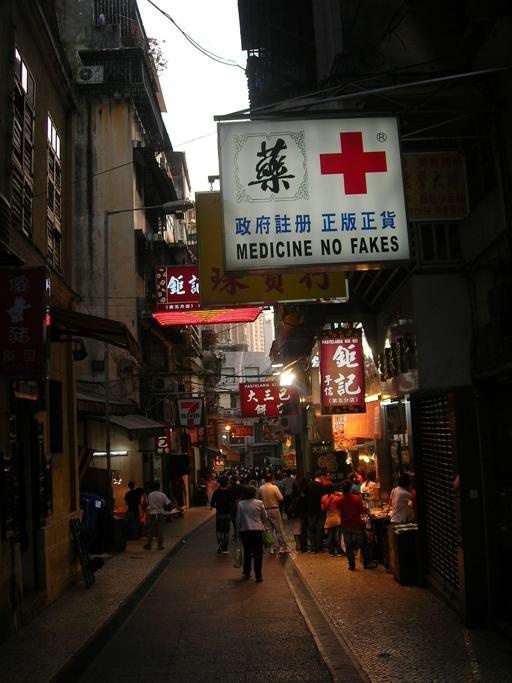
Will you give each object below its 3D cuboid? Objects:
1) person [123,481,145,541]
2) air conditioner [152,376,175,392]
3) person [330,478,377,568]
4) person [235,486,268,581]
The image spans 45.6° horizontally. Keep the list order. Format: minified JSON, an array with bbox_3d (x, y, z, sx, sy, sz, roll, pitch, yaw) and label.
[{"bbox_3d":[-3.804,5.289,19.022,0.521,1.731,1.557,1,-13,-11],"label":"person"},{"bbox_3d":[-4.196,1.946,27.998,1.090,0.639,0.798,-1,2,0],"label":"air conditioner"},{"bbox_3d":[1.880,3.516,11.711,0.608,1.605,1.212,-3,-12,8],"label":"person"},{"bbox_3d":[-0.104,3.569,11.393,0.542,1.620,1.730,-1,-13,-2],"label":"person"}]
